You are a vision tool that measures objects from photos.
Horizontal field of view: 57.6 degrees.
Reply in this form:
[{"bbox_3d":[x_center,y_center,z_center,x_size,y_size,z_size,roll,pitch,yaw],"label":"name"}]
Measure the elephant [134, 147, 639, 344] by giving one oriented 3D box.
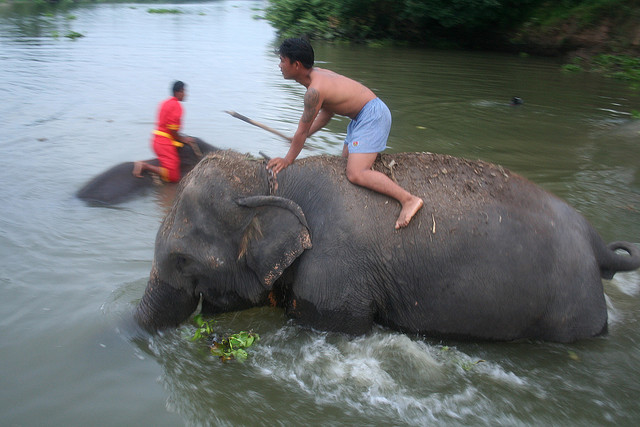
[{"bbox_3d":[0.629,0.317,6.512,4.550,2.314,1.881,3,2,2],"label":"elephant"}]
